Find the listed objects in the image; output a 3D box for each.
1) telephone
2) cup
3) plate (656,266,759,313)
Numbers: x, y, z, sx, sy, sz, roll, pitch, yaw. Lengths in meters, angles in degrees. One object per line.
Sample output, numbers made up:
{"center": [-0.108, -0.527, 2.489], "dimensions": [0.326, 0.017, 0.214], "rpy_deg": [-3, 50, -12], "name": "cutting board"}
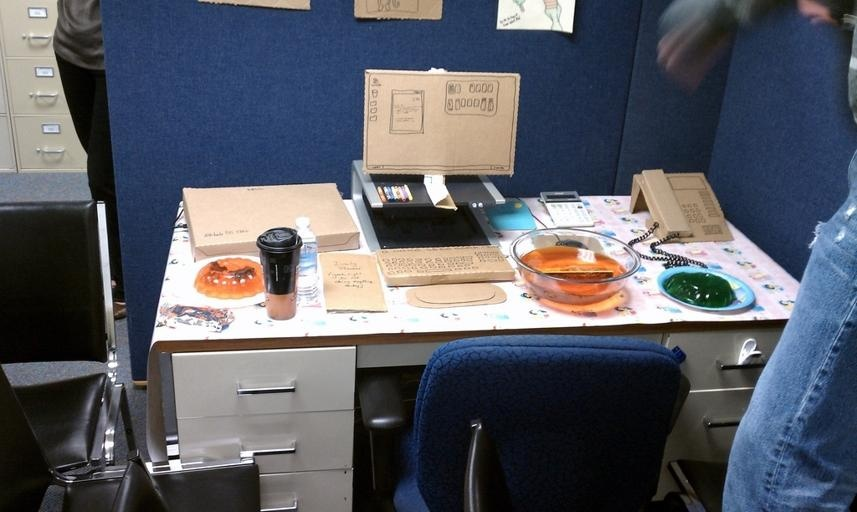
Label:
{"center": [0.999, -0.205, 2.505], "dimensions": [0.318, 0.143, 0.327], "rpy_deg": [-3, 39, -10], "name": "telephone"}
{"center": [-0.455, 0.051, 1.990], "dimensions": [0.113, 0.262, 0.159], "rpy_deg": [20, 36, 35], "name": "cup"}
{"center": [0.940, 0.115, 2.146], "dimensions": [0.196, 0.047, 0.196], "rpy_deg": [-2, 30, -3], "name": "plate"}
